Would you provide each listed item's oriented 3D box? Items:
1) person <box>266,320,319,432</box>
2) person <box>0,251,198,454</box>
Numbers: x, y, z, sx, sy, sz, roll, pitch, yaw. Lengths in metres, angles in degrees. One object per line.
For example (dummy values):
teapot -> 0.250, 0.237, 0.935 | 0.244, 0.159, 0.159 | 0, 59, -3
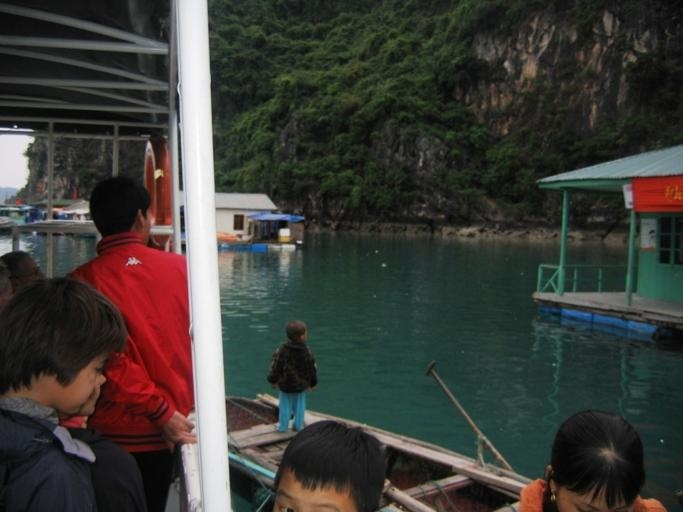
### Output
person -> -0.558, 1.377, 7.298 | 0.493, 1.344, 0.354 | 1, 16, -11
person -> -1.454, 0.497, 4.288 | 0.877, 1.713, 1.677 | 4, 0, -11
